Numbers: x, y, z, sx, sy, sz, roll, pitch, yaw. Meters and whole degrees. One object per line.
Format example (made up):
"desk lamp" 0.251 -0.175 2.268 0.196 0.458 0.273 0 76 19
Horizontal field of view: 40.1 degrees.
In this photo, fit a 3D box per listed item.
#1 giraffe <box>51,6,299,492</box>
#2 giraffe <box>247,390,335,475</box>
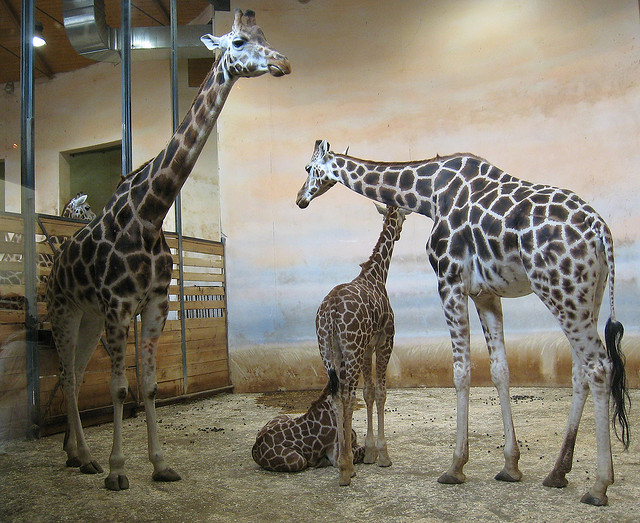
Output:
"giraffe" -1.622 -0.146 8.202 1.347 4.160 2.659 -6 7 -43
"giraffe" -0.276 1.660 8.252 0.798 0.966 0.510 2 -10 -8
